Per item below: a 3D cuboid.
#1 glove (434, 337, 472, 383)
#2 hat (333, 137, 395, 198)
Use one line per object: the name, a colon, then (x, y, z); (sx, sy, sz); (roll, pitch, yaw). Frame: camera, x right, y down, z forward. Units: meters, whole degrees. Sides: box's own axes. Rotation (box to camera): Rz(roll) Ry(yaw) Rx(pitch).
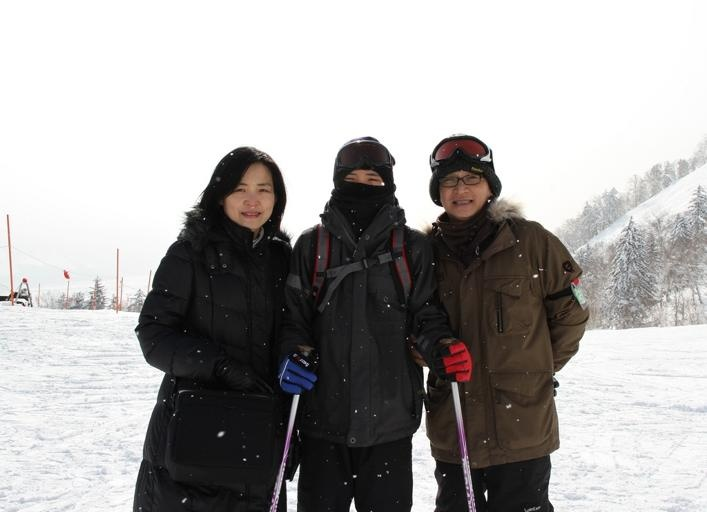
glove: (1.011, 1.064, 6.066); (0.341, 0.439, 0.086); (0, -1, 7)
hat: (0.116, -1.026, 6.767); (0.626, 0.471, 0.725); (2, -26, -15)
